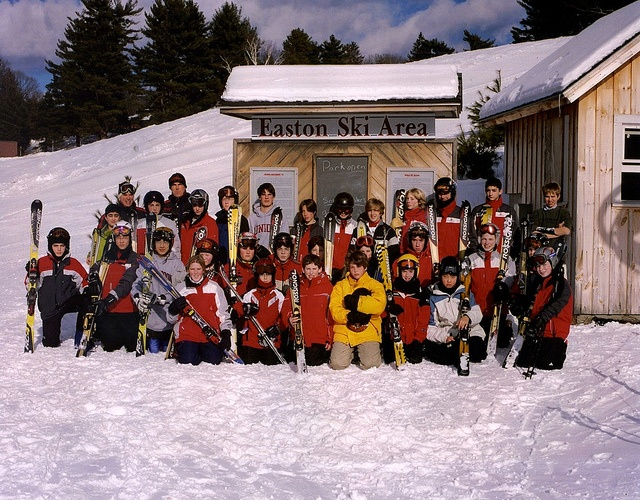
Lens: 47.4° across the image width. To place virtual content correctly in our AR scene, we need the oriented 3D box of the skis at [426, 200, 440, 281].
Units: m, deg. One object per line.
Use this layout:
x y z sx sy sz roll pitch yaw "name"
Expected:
1.698 -0.175 10.888 0.136 1.243 0.135 -1 -27 7 "skis"

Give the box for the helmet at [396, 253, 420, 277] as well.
1.214 0.211 10.105 0.238 0.329 0.246 1 -1 12 "helmet"

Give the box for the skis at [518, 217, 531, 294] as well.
2.956 0.120 10.554 0.150 1.085 0.118 -4 -19 41 "skis"

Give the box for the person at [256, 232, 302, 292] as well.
-0.578 0.209 10.472 0.753 1.019 0.290 -2 8 -10 "person"

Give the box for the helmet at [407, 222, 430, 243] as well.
1.397 -0.291 10.413 0.241 0.325 0.318 3 22 12 "helmet"

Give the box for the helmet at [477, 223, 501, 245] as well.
2.427 -0.258 10.504 0.229 0.286 0.291 1 -38 26 "helmet"

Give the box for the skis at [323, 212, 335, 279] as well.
0.146 -0.088 10.969 0.117 1.089 0.181 1 -25 2 "skis"

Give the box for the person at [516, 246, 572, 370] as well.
3.034 0.782 9.838 0.625 1.735 0.498 1 0 -37 "person"

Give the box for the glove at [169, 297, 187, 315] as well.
-1.943 0.762 9.927 0.218 0.258 0.230 2 0 43 "glove"

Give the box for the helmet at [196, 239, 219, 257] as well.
-1.612 -0.025 10.405 0.306 0.258 0.492 2 0 -10 "helmet"

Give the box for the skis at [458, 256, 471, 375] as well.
1.949 0.960 9.899 0.115 1.493 0.212 0 -11 16 "skis"

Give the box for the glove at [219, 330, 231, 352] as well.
-1.294 1.226 9.928 0.068 0.247 0.178 -3 -5 41 "glove"

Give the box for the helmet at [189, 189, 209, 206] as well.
-1.879 -0.846 11.312 0.218 0.256 0.285 0 -14 -1 "helmet"

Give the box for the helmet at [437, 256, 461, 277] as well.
1.773 0.225 10.039 0.222 0.279 0.251 2 14 11 "helmet"

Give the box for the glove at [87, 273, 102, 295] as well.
-3.236 0.492 10.483 0.194 0.323 0.115 2 0 -19 "glove"

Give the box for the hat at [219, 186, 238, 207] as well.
-1.494 -0.886 11.507 0.280 0.395 0.368 1 9 3 "hat"

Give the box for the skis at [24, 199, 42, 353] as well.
-4.157 0.409 10.571 0.250 2.466 0.249 2 -3 -13 "skis"

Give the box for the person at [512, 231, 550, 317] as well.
2.872 0.265 10.146 0.370 1.475 0.354 17 25 40 "person"

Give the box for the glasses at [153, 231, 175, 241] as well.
-2.250 -0.205 10.457 0.142 0.084 0.179 -1 -14 -6 "glasses"

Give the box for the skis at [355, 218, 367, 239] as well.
0.630 -0.321 10.872 0.135 0.260 0.231 2 0 2 "skis"

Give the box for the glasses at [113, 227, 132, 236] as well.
-2.910 -0.276 10.687 0.145 0.164 0.078 -1 41 -6 "glasses"

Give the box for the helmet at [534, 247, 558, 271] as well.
3.047 0.091 9.898 0.247 0.314 0.266 -9 26 46 "helmet"

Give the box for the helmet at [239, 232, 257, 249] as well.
-1.041 -0.138 10.435 0.192 0.182 0.225 3 -13 -9 "helmet"

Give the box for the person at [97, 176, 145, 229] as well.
-3.228 -0.634 11.987 0.979 0.550 1.089 -3 28 -10 "person"

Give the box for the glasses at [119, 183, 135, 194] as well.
-3.109 -0.999 11.685 0.177 0.102 0.225 -1 -14 -25 "glasses"

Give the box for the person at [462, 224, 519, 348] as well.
2.412 0.386 10.482 0.537 2.213 0.375 1 -17 9 "person"

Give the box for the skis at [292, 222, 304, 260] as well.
-0.349 -0.133 11.128 0.132 0.558 0.085 4 -5 8 "skis"

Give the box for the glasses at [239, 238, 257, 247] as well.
-1.037 -0.102 10.477 0.245 0.134 0.129 2 0 -10 "glasses"

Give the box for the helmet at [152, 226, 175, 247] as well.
-2.267 -0.227 10.496 0.209 0.298 0.255 0 43 -7 "helmet"

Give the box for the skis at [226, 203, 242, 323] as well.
-1.277 0.282 11.008 0.210 2.080 0.213 3 23 1 "skis"

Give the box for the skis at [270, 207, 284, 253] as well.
-0.696 -0.320 11.553 0.159 0.731 0.124 4 -6 20 "skis"

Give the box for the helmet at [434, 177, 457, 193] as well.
1.890 -0.997 11.038 0.221 0.250 0.268 4 15 8 "helmet"

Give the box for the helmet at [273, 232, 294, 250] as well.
-0.529 -0.126 10.378 0.207 0.245 0.251 4 4 -2 "helmet"

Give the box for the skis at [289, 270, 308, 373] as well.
-0.295 0.922 9.803 0.155 1.586 0.194 -3 -13 -1 "skis"

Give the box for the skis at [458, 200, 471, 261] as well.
2.181 -0.308 11.006 0.117 1.156 0.152 1 -8 21 "skis"

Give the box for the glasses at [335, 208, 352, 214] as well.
0.374 -0.589 10.987 0.264 0.088 0.147 2 0 -22 "glasses"

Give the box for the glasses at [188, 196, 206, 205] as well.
-1.869 -0.769 11.218 0.263 0.141 0.159 2 0 -14 "glasses"

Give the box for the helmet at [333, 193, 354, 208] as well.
0.355 -0.746 11.057 0.307 0.197 0.449 1 4 -1 "helmet"

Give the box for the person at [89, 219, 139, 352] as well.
-3.055 0.694 10.753 0.704 2.243 0.722 7 20 -6 "person"

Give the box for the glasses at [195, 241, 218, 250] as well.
-1.614 -0.072 10.433 0.167 0.096 0.200 3 -16 7 "glasses"

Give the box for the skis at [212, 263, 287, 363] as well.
-0.983 0.935 10.164 0.120 1.520 0.219 -37 -4 24 "skis"

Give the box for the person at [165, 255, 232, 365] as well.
-1.650 0.817 10.032 0.855 1.476 0.420 2 0 -9 "person"
